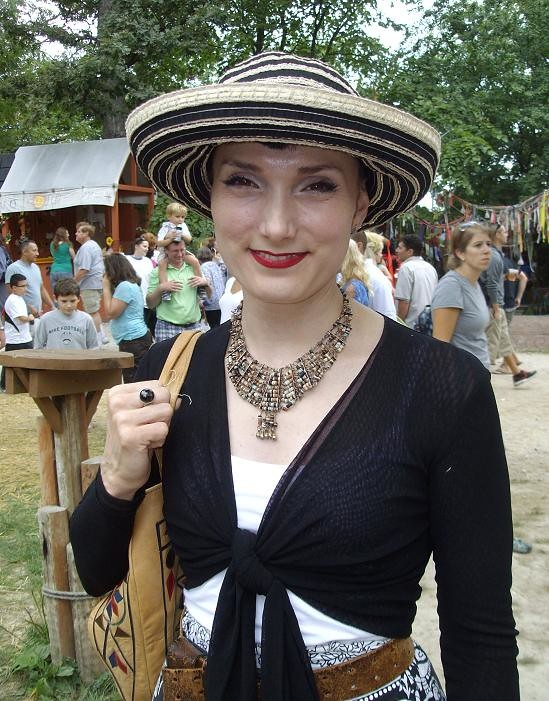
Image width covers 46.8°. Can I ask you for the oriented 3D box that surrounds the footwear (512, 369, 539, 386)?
[{"bbox_3d":[3.669,0.364,9.198,0.458,0.181,0.154,-26,18,-39],"label":"footwear"}]

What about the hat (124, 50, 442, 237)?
[{"bbox_3d":[-0.029,-0.393,1.153,0.452,0.154,0.395,-7,-22,23],"label":"hat"}]

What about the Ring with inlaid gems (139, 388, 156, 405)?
[{"bbox_3d":[-0.237,0.086,1.180,0.028,0.026,0.014,-20,2,16],"label":"Ring with inlaid gems"}]
